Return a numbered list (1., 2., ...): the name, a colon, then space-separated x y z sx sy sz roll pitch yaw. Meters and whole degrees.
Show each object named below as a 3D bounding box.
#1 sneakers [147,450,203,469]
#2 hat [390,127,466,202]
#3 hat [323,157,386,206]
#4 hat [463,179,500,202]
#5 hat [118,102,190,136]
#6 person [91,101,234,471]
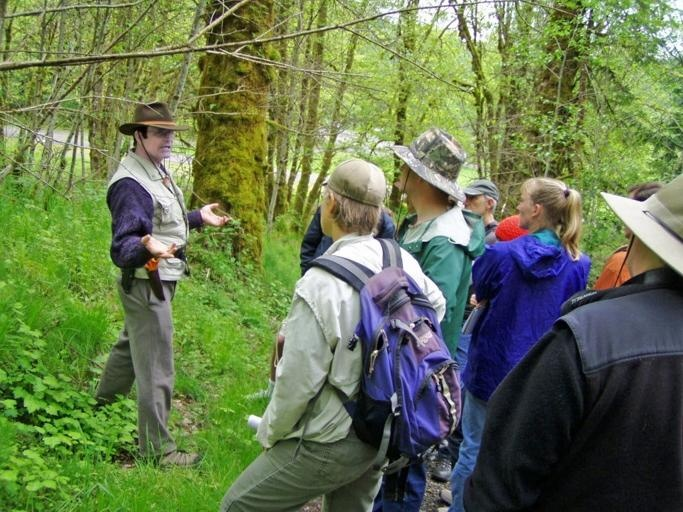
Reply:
1. sneakers: -1.257 1.571 4.921 0.328 0.147 0.121 -2 7 -20
2. hat: 0.692 -0.711 4.696 0.563 0.300 0.514 34 16 -6
3. hat: 0.088 -0.422 3.746 0.246 0.185 0.323 5 25 -26
4. hat: 1.380 -0.647 6.310 0.290 0.157 0.207 15 -3 -16
5. hat: -1.494 -1.060 4.913 0.326 0.138 0.293 0 6 27
6. person: -1.416 0.176 4.823 0.866 2.203 1.118 6 -4 -3
